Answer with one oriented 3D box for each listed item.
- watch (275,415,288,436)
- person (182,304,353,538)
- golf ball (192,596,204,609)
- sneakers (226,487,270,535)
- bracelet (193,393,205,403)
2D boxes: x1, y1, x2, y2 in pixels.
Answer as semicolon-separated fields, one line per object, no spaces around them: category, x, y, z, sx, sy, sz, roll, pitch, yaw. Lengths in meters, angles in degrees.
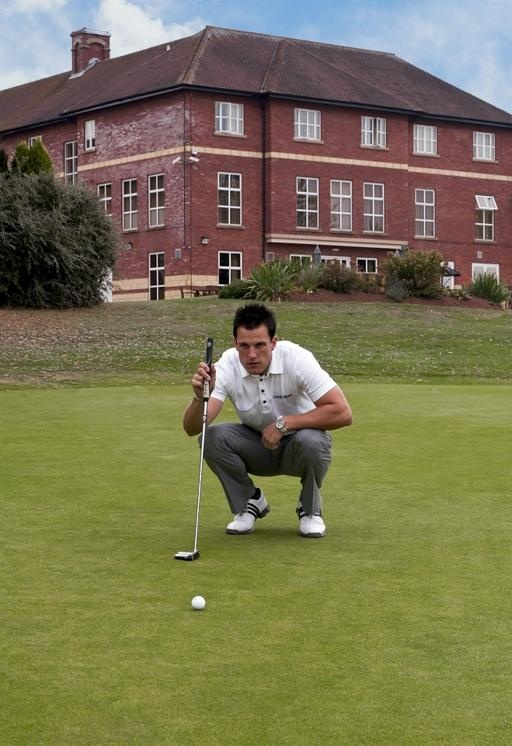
watch;0.120;0.253;4.519;0.043;0.082;0.064;-19;13;-21
person;0.049;0.240;4.650;0.806;1.071;0.717;-1;-5;-6
golf ball;-0.192;0.755;3.132;0.038;0.037;0.038;2;19;-1
sneakers;-0.028;0.681;4.585;0.103;0.130;0.274;1;29;33
bracelet;-0.275;0.124;4.608;0.040;0.031;0.040;1;-3;-13
